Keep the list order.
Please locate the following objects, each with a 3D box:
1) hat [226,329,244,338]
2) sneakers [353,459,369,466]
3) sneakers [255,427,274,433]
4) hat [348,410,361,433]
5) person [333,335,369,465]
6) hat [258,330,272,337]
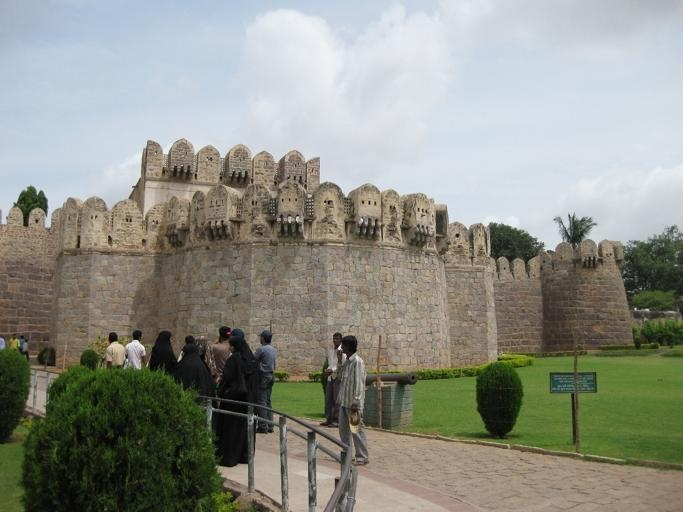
[{"bbox_3d":[-2.177,1.584,16.283,0.291,0.245,0.435,0,-4,-19],"label":"hat"},{"bbox_3d":[0.378,4.033,15.434,0.263,0.137,0.377,1,-7,5],"label":"sneakers"},{"bbox_3d":[-1.389,3.094,14.066,0.184,0.080,0.234,6,-8,-31],"label":"sneakers"},{"bbox_3d":[0.264,3.177,15.240,0.264,0.387,0.134,5,3,30],"label":"hat"},{"bbox_3d":[0.206,2.801,15.450,0.552,2.515,0.730,-1,-9,0],"label":"person"},{"bbox_3d":[-1.698,1.706,17.549,0.364,0.171,0.523,0,-2,-12],"label":"hat"}]
